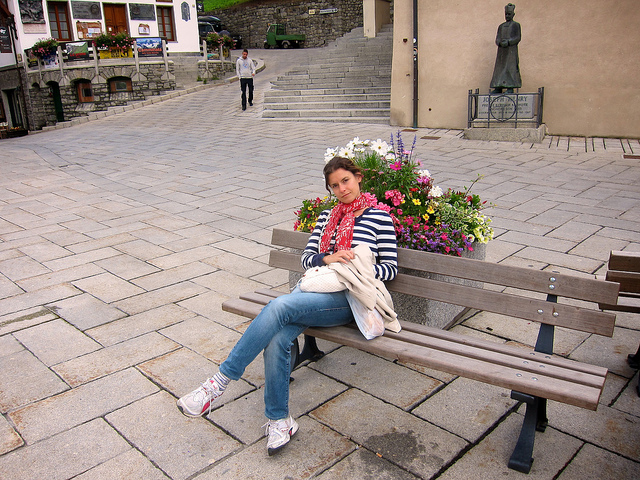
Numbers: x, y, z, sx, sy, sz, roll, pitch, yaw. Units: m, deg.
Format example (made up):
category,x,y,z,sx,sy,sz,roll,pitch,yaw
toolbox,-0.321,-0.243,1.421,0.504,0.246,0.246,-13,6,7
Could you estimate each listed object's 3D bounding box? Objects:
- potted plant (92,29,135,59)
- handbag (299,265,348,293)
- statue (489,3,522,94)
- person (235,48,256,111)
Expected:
category,x,y,z,sx,sy,sz,roll,pitch,yaw
potted plant,-11.344,-10.618,24.624,1.894,1.360,2.246,-12,22,-26
handbag,0.001,0.265,3.093,0.268,0.086,0.188,0,8,1
statue,4.793,-4.820,11.380,0.729,2.114,0.471,5,22,19
person,-2.807,-5.964,16.836,0.689,2.126,0.592,-19,26,-36
